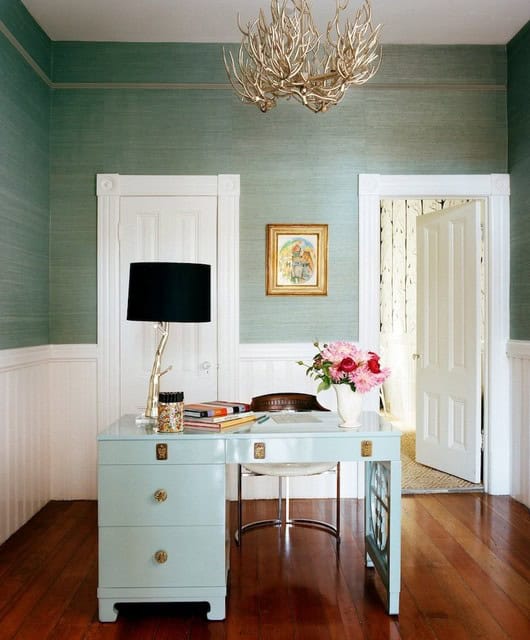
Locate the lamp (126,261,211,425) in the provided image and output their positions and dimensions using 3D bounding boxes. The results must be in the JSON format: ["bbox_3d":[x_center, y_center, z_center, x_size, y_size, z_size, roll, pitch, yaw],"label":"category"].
[{"bbox_3d":[-0.414,0.110,2.328,0.354,0.655,0.365,-26,-31,38],"label":"lamp"}]

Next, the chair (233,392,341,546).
[{"bbox_3d":[0.137,0.826,3.115,0.691,1.113,0.704,0,-8,-2],"label":"chair"}]

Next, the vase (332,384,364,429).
[{"bbox_3d":[0.372,0.370,2.389,0.134,0.206,0.157,-1,4,17],"label":"vase"}]

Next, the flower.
[{"bbox_3d":[0.353,0.234,2.389,0.267,0.236,0.330,6,12,-9],"label":"flower"}]

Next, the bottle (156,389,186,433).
[{"bbox_3d":[-0.399,0.375,2.311,0.098,0.177,0.109,-2,15,-17],"label":"bottle"}]

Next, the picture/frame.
[{"bbox_3d":[0.244,-0.423,3.846,0.418,0.552,0.038,1,-20,12],"label":"picture/frame"}]
